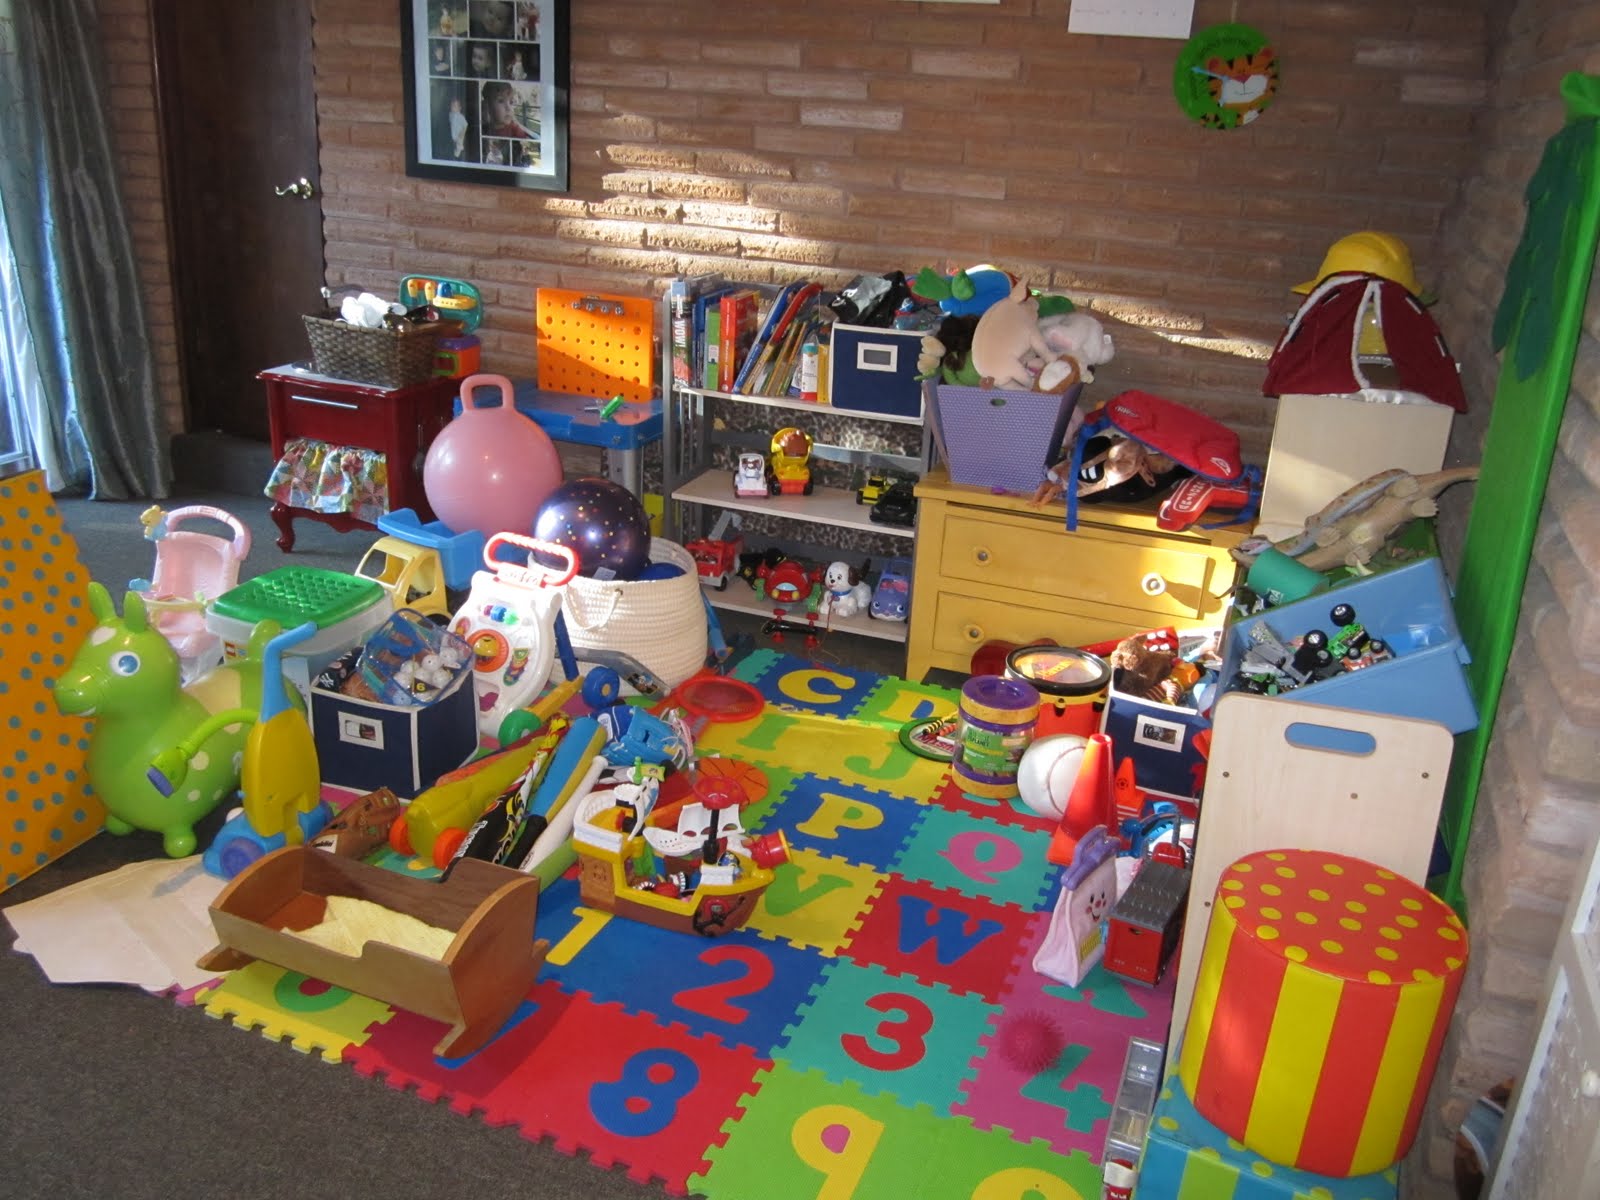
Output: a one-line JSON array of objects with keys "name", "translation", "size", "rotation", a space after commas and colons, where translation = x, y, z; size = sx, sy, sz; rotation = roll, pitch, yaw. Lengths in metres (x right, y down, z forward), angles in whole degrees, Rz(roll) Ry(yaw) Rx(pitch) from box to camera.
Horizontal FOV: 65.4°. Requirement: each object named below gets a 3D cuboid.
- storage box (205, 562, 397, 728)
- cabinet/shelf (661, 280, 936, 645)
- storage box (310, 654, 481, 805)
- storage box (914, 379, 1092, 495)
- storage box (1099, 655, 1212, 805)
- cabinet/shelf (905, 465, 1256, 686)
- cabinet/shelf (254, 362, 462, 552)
[{"name": "storage box", "translation": [-1.591, 0.104, 3.918], "size": [0.534, 0.386, 0.566], "rotation": [8, -4, -40]}, {"name": "cabinet/shelf", "translation": [0.007, -0.524, 4.726], "size": [1.150, 1.548, 0.473], "rotation": [7, 28, 11]}, {"name": "storage box", "translation": [-1.212, 0.377, 3.736], "size": [0.366, 0.269, 0.374], "rotation": [7, 17, 22]}, {"name": "storage box", "translation": [0.720, -0.566, 4.398], "size": [0.504, 0.362, 0.419], "rotation": [11, 12, 18]}, {"name": "storage box", "translation": [1.167, 0.441, 3.897], "size": [0.307, 0.307, 0.219], "rotation": [8, 24, 35]}, {"name": "cabinet/shelf", "translation": [0.977, -0.356, 4.514], "size": [1.062, 0.716, 0.618], "rotation": [8, 18, 16]}, {"name": "cabinet/shelf", "translation": [-1.986, -0.521, 5.385], "size": [0.557, 0.578, 0.483], "rotation": [-5, 6, -16]}]
